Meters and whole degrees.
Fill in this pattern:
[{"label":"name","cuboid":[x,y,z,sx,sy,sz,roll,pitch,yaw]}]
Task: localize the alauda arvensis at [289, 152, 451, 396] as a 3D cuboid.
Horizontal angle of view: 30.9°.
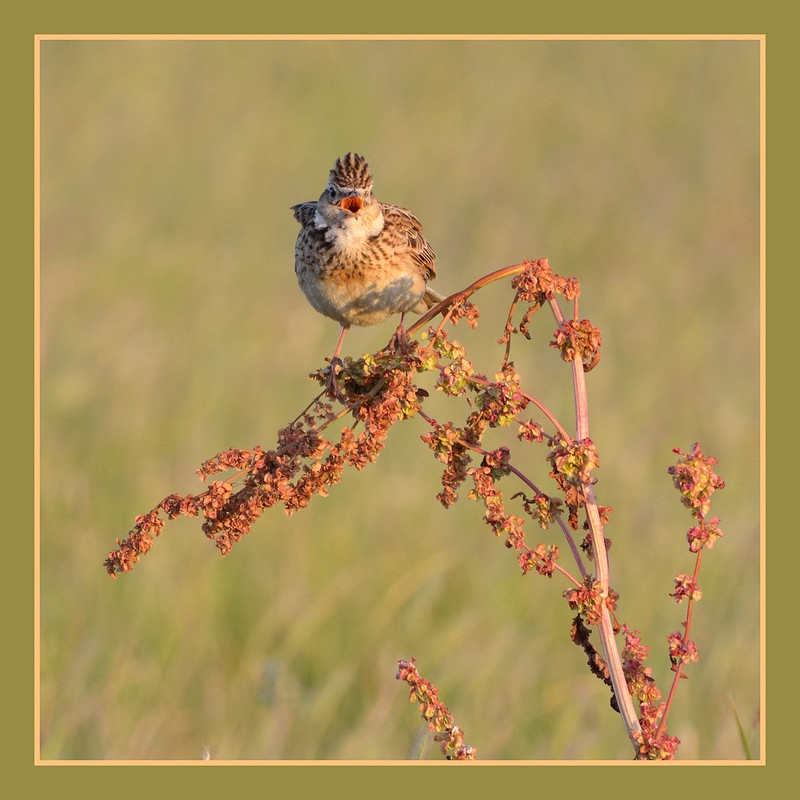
[{"label":"alauda arvensis","cuboid":[-0.141,-0.730,7.373,0.665,0.865,0.697,6,-22,-27]}]
